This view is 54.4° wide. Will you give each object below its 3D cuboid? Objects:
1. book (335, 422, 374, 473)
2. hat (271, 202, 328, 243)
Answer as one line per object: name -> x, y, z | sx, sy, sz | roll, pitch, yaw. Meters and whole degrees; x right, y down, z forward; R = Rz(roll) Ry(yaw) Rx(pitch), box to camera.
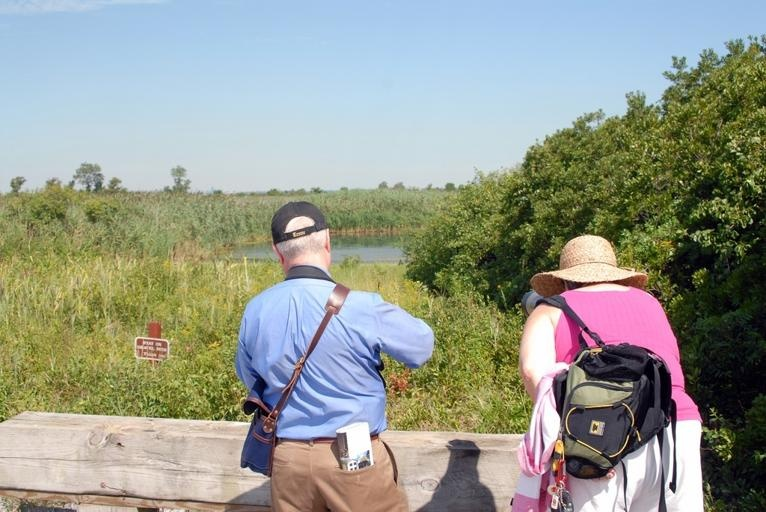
book -> -0.259, 1.685, 6.528 | 0.320, 0.473, 0.156 | -12, 0, -22
hat -> -0.771, -0.333, 6.975 | 0.528, 0.375, 0.772 | -11, 9, -8
